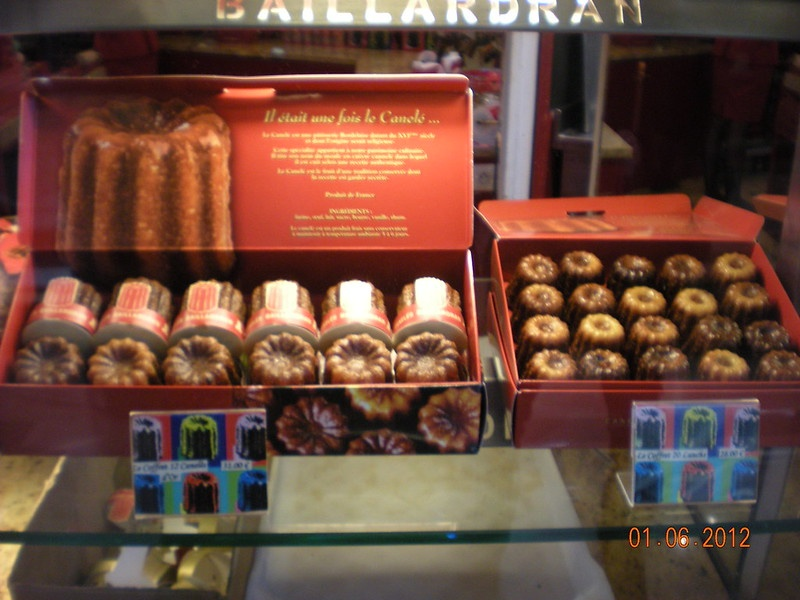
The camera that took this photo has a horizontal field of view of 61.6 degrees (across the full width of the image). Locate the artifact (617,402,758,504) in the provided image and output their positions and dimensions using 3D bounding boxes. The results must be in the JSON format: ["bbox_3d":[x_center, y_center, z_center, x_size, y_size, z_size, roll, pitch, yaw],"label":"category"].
[{"bbox_3d":[0.636,0.329,1.447,0.223,0.178,0.072,-1,0,-1],"label":"artifact"}]
